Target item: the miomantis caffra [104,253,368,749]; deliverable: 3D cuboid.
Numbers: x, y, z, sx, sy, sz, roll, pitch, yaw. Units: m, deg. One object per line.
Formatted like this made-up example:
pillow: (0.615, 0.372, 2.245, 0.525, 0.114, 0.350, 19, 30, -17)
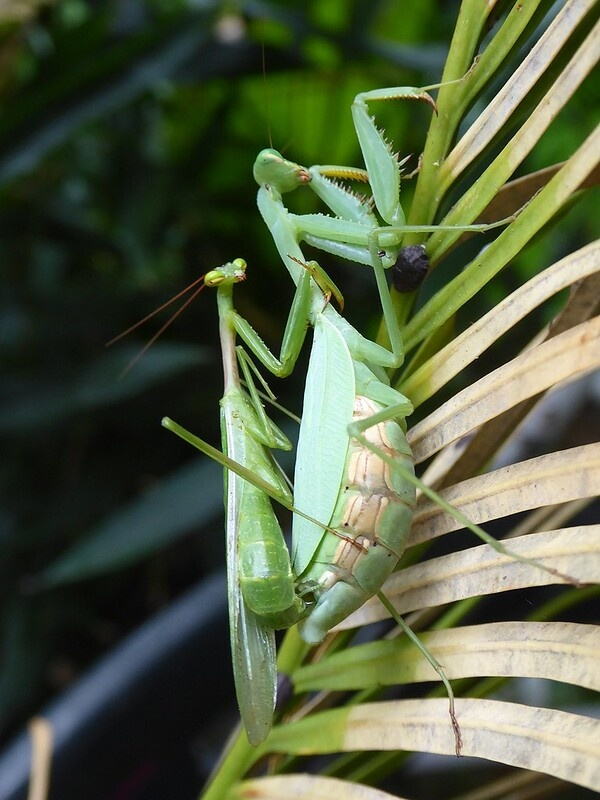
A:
miomantis caffra: (-0.028, 0.108, 0.870, 0.260, 0.221, 0.403, -23, 56, 12)
